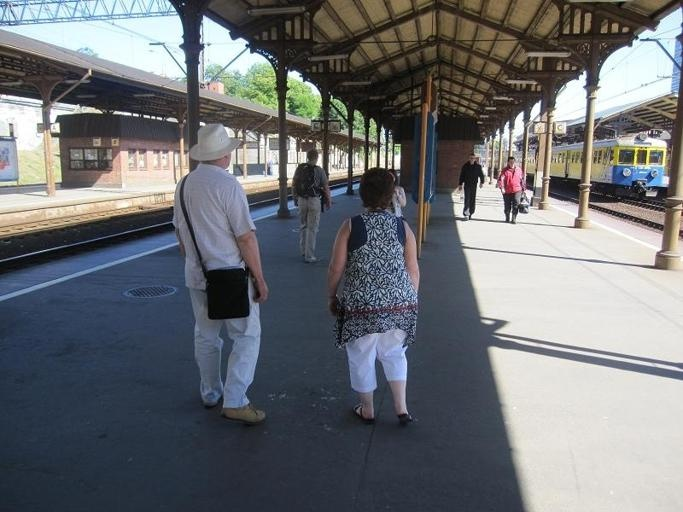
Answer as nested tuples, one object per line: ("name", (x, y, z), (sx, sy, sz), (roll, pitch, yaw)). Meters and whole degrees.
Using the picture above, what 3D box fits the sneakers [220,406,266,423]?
("sneakers", (-0.788, 1.244, 4.091), (0.300, 0.165, 0.149), (2, 4, -7))

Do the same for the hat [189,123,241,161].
("hat", (-1.021, -0.964, 4.109), (0.409, 0.194, 0.469), (-3, 33, 11))

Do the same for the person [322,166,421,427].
("person", (0.246, 0.494, 4.051), (0.699, 1.684, 0.388), (2, 10, 4))

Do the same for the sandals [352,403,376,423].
("sandals", (0.177, 1.290, 4.181), (0.081, 0.089, 0.207), (-1, 12, -15))

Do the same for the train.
("train", (15.151, -5.708, 33.952), (2.362, 3.823, 15.256), (3, 9, -2))

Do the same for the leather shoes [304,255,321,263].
("leather shoes", (-0.545, 0.054, 9.399), (0.249, 0.125, 0.097), (-4, 13, -16))

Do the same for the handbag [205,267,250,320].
("handbag", (-0.884, 0.258, 4.025), (0.340, 0.425, 0.218), (2, 17, 1))

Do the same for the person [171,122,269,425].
("person", (-0.977, 0.122, 4.158), (0.692, 2.332, 0.750), (-3, 11, -19))

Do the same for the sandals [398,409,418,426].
("sandals", (0.512, 1.299, 4.124), (0.065, 0.061, 0.188), (2, 4, 11))

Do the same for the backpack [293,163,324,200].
("backpack", (-0.612, -1.340, 9.203), (0.504, 0.700, 0.358), (1, -1, 34))
